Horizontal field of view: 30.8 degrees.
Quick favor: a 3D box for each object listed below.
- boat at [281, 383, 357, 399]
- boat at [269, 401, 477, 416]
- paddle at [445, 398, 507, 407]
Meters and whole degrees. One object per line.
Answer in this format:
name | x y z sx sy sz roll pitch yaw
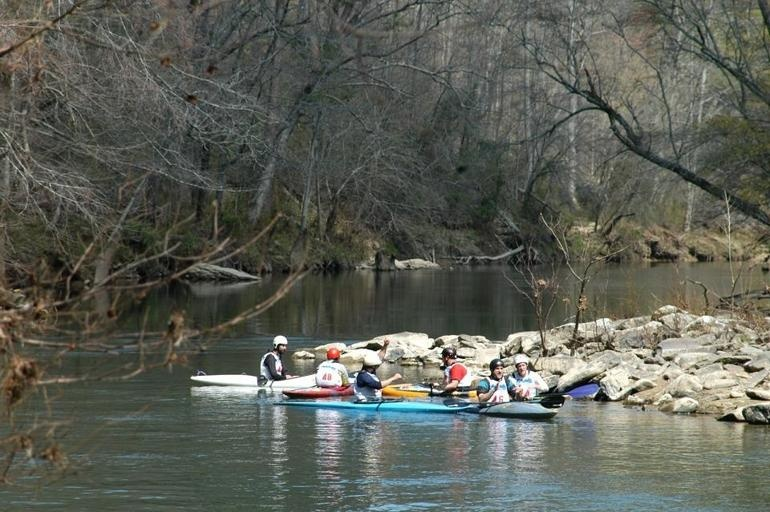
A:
boat | -2.186 4.516 46.091 2.134 0.325 0.793 -1 0 -10
boat | -0.098 4.835 44.890 6.199 0.312 0.793 0 4 7
paddle | 2.772 4.702 44.653 1.905 0.160 0.705 0 4 7
